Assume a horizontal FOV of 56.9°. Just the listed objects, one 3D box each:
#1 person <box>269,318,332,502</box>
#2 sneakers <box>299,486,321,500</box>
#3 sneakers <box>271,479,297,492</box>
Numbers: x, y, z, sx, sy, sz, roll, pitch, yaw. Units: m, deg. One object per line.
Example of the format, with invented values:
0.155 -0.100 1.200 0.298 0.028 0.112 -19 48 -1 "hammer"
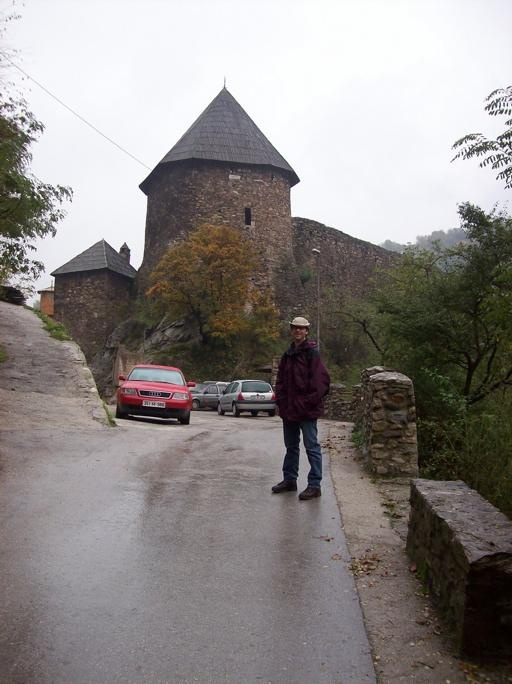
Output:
0.528 0.758 5.758 0.658 2.138 0.844 0 -1 9 "person"
0.598 1.711 5.354 0.103 0.123 0.281 -6 -14 28 "sneakers"
0.335 1.723 5.710 0.351 0.166 0.122 6 -7 -27 "sneakers"
